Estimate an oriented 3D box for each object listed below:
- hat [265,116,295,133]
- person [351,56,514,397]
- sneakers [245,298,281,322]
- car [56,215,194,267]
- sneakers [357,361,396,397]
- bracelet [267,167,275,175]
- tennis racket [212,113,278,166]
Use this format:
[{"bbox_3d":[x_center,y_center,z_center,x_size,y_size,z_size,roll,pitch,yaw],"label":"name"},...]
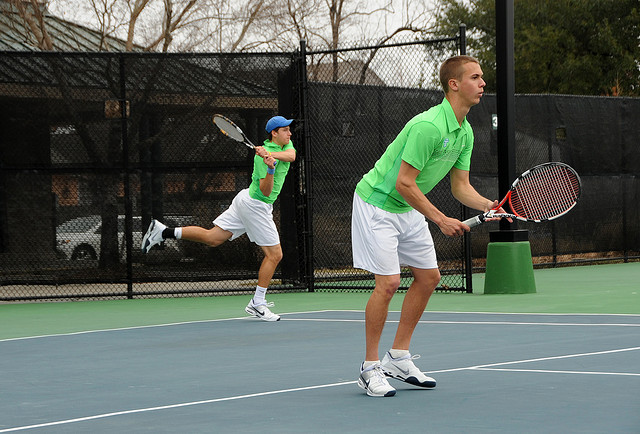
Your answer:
[{"bbox_3d":[-0.571,-1.256,8.140,0.362,0.182,0.245,-18,5,7],"label":"hat"},{"bbox_3d":[0.752,0.053,4.546,1.015,2.526,0.701,-2,3,-2],"label":"person"},{"bbox_3d":[-0.780,1.258,7.980,0.467,0.290,0.259,1,4,35],"label":"sneakers"},{"bbox_3d":[-3.552,0.352,10.581,1.855,0.679,0.898,-3,1,-8],"label":"car"},{"bbox_3d":[0.401,1.191,4.402,0.160,0.192,0.440,1,2,-20],"label":"sneakers"},{"bbox_3d":[-0.657,-0.593,7.827,0.085,0.071,0.090,5,-9,11],"label":"bracelet"},{"bbox_3d":[-1.193,-1.269,8.638,1.540,0.395,0.127,39,45,23],"label":"tennis racket"}]
